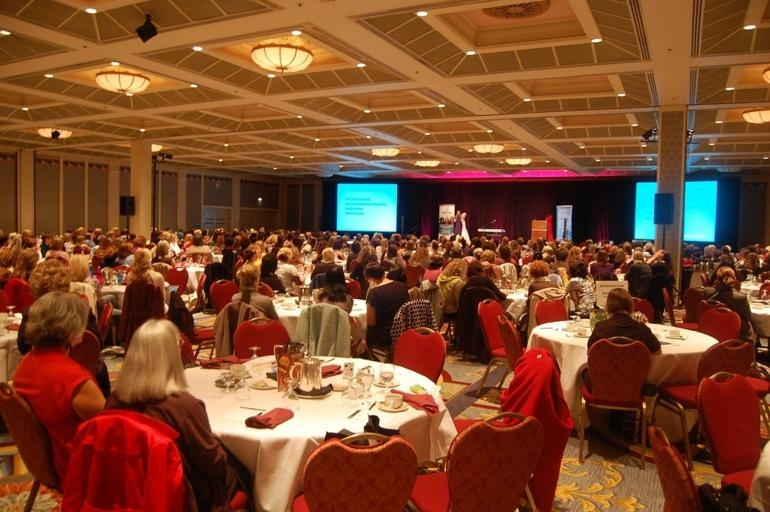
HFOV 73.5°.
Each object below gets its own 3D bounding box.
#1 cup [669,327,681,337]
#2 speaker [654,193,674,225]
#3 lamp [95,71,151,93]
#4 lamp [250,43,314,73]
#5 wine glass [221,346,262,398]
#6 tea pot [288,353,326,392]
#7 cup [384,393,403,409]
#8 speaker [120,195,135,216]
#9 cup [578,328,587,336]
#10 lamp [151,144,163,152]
[{"bbox_3d":[3.565,0.945,6.409,0.125,0.102,0.113,-3,3,-8],"label":"cup"},{"bbox_3d":[6.512,-1.117,12.107,0.417,0.686,0.259,1,3,16],"label":"speaker"},{"bbox_3d":[-5.415,-3.609,10.737,0.616,0.181,0.603,0,0,-43],"label":"lamp"},{"bbox_3d":[-1.777,-3.510,9.168,0.605,0.252,0.630,-1,-2,13],"label":"lamp"},{"bbox_3d":[-1.299,1.071,4.656,0.258,0.142,0.350,1,6,20],"label":"wine glass"},{"bbox_3d":[-0.688,1.021,4.517,0.319,0.310,0.193,-3,6,-36],"label":"tea pot"},{"bbox_3d":[0.074,1.206,4.251,0.120,0.089,0.120,0,3,0],"label":"cup"},{"bbox_3d":[-8.890,-1.755,17.912,0.474,0.629,0.560,0,3,-26],"label":"speaker"},{"bbox_3d":[2.432,0.944,6.402,0.082,0.070,0.090,-2,5,0],"label":"cup"},{"bbox_3d":[-8.428,-3.987,19.182,0.404,0.266,0.420,-2,-1,25],"label":"lamp"}]
